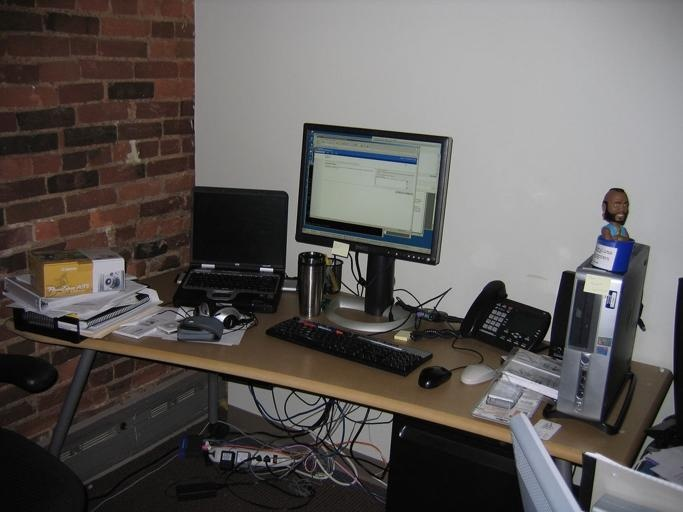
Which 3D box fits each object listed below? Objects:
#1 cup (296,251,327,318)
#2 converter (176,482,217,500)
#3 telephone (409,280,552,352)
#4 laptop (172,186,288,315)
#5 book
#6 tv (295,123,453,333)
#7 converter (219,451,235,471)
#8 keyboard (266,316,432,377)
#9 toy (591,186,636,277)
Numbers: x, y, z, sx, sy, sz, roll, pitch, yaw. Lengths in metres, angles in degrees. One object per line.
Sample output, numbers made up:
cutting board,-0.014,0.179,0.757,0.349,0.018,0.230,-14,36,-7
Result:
cup,-0.117,0.110,2.125,0.111,0.237,0.116,5,18,-2
converter,-0.631,1.010,2.339,0.127,0.029,0.068,0,11,-9
telephone,0.582,0.241,1.921,0.286,0.146,0.345,-6,16,-41
laptop,-0.438,-0.024,2.152,0.432,0.364,0.346,6,26,9
book,-0.832,0.210,1.905,0.397,0.073,0.373,7,12,20
tv,0.117,-0.122,2.110,0.617,0.744,0.286,10,18,28
converter,-0.509,0.910,2.420,0.071,0.071,0.017,1,-10,14
keyboard,0.006,0.310,1.878,0.549,0.061,0.184,12,9,25
toy,0.784,-0.077,1.543,0.097,0.234,0.101,3,7,10
